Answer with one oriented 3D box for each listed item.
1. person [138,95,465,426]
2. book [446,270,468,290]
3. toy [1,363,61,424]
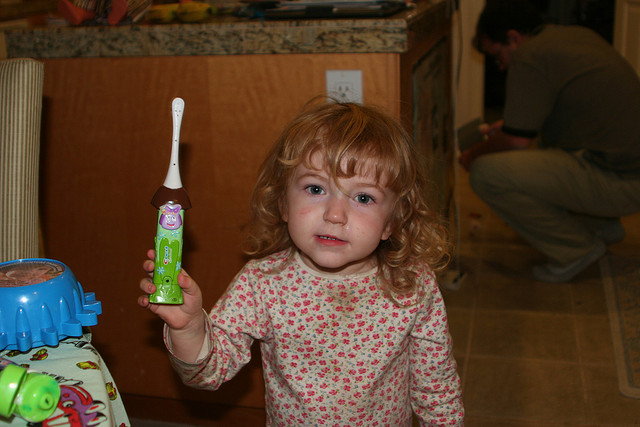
[{"bbox_3d":[-0.012,0.143,1.467,0.691,0.752,0.390,-4,15,-2],"label":"person"},{"bbox_3d":[0.398,0.197,1.846,0.013,0.053,0.057,19,18,-14],"label":"book"},{"bbox_3d":[-0.485,0.307,1.052,0.057,0.054,0.090,9,1,-30],"label":"toy"}]
